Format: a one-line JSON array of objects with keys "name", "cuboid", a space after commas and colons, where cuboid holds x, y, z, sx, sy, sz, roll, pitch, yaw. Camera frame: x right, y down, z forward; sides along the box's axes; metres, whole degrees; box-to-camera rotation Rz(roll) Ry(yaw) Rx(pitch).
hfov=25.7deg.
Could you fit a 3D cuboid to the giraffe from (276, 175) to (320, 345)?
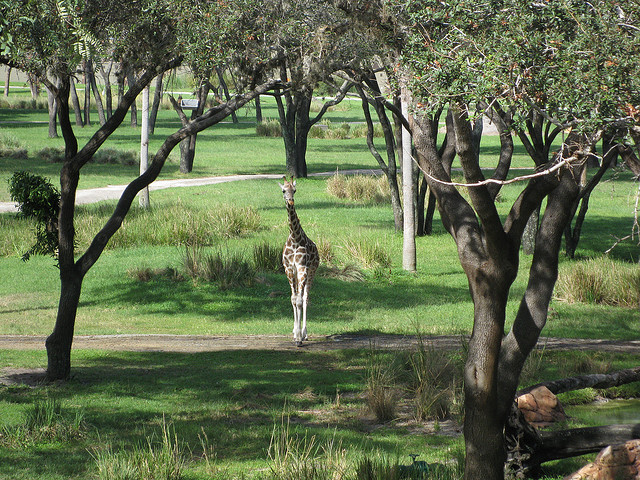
[{"name": "giraffe", "cuboid": [-0.415, 0.379, 27.828, 0.694, 3.266, 2.059, -2, 3, -1]}]
